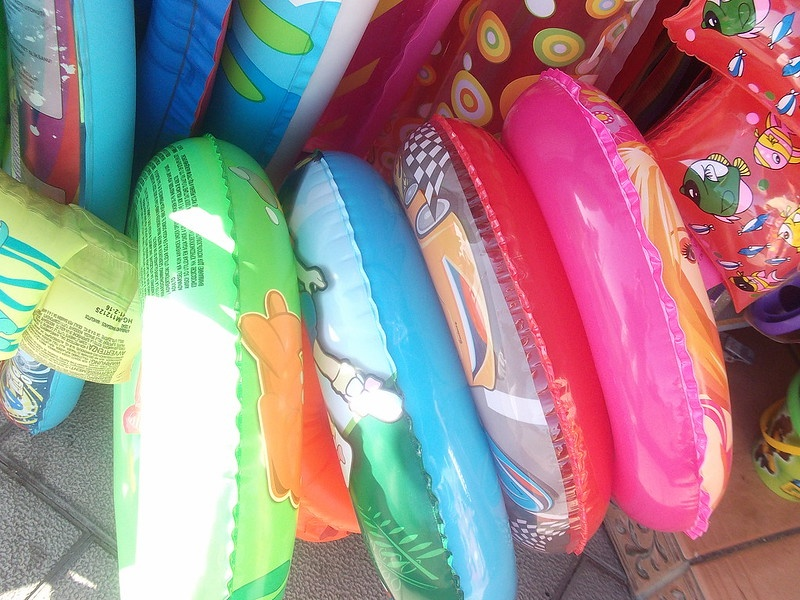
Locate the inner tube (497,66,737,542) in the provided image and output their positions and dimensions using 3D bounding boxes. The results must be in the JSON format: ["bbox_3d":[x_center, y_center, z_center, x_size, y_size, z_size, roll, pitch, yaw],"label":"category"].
[{"bbox_3d":[0.392,0.002,1.106,0.253,0.785,0.266,-9,-18,-9],"label":"inner tube"}]
